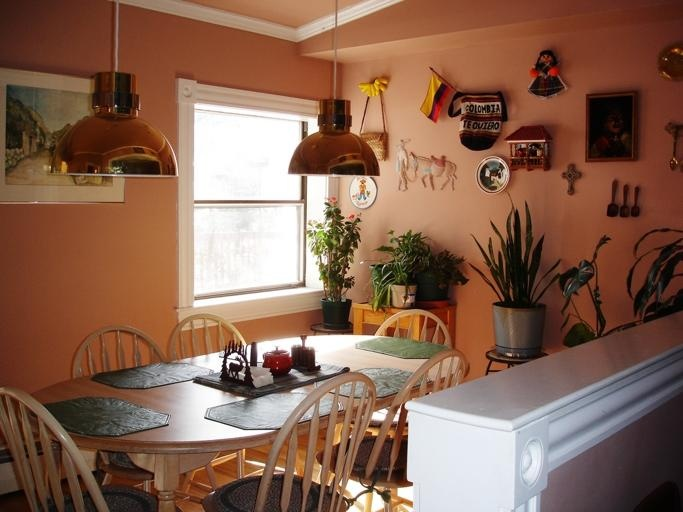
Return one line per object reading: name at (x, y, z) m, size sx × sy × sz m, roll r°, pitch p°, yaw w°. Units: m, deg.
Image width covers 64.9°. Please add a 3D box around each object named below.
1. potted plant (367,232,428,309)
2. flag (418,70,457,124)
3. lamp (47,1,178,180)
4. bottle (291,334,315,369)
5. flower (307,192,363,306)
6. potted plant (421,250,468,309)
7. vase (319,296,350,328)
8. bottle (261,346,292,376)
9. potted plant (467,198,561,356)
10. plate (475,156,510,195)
potted plant at (0.522, 0.177, 4.543) m, size 0.457 × 0.758 × 0.524 m, roll 8°, pitch 14°, yaw 10°
flag at (0.827, -1.359, 4.546) m, size 0.042 × 0.382 × 0.327 m, roll -10°, pitch 39°, yaw -43°
lamp at (-0.825, -0.593, 2.338) m, size 0.582 × 0.886 × 0.592 m, roll 0°, pitch 4°, yaw -12°
bottle at (-0.198, 0.502, 2.821) m, size 0.148 × 0.183 × 0.061 m, roll 2°, pitch 5°, yaw 42°
flower at (-0.064, -0.061, 4.888) m, size 0.471 × 0.950 × 0.572 m, roll -2°, pitch 5°, yaw -1°
potted plant at (0.827, 0.193, 4.428) m, size 0.395 × 0.307 × 0.393 m, roll 5°, pitch -2°, yaw -34°
vase at (-0.065, 0.485, 4.761) m, size 0.235 × 0.226 × 0.243 m, roll 0°, pitch 2°, yaw -22°
bottle at (-0.325, 0.526, 2.684) m, size 0.126 × 0.113 × 0.102 m, roll 0°, pitch 3°, yaw 11°
potted plant at (1.275, 0.167, 3.988) m, size 0.657 × 1.137 × 0.682 m, roll 0°, pitch 5°, yaw 23°
plate at (1.239, -0.702, 4.330) m, size 0.276 × 0.055 × 0.291 m, roll 2°, pitch -27°, yaw 32°
